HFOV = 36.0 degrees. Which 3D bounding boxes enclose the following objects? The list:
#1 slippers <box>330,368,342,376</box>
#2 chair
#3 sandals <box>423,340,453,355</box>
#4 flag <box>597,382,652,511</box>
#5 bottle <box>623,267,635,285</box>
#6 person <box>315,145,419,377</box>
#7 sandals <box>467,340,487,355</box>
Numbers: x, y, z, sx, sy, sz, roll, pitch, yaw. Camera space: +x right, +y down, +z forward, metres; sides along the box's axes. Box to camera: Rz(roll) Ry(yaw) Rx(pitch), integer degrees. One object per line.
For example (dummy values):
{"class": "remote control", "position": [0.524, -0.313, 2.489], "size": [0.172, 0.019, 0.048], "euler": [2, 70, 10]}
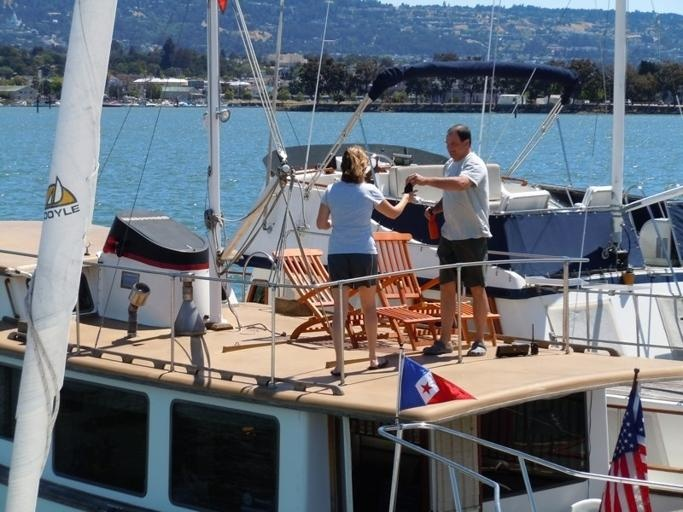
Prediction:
{"class": "slippers", "position": [-0.057, 1.131, 10.407], "size": [0.042, 0.051, 0.123], "euler": [-5, 10, -34]}
{"class": "chair", "position": [0.418, 0.491, 11.953], "size": [1.288, 1.353, 2.297], "euler": [-6, 8, -42]}
{"class": "sandals", "position": [1.006, 0.951, 11.153], "size": [0.242, 0.115, 0.138], "euler": [0, 4, -14]}
{"class": "flag", "position": [2.786, 1.870, 10.022], "size": [0.425, 1.279, 0.561], "euler": [3, 3, 3]}
{"class": "bottle", "position": [3.800, 0.262, 13.844], "size": [0.181, 0.298, 0.187], "euler": [-1, 2, 0]}
{"class": "person", "position": [0.153, 0.037, 10.537], "size": [0.841, 2.267, 0.897], "euler": [3, 3, -1]}
{"class": "sandals", "position": [1.435, 0.962, 11.113], "size": [0.144, 0.127, 0.345], "euler": [1, 0, 12]}
